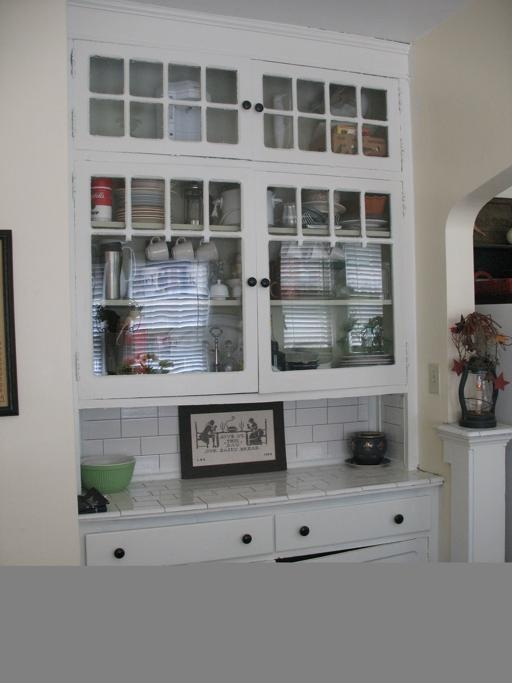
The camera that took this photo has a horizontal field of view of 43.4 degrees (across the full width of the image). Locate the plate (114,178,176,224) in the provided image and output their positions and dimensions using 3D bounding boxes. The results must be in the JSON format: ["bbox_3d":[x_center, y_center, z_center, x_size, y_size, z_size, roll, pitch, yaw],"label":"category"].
[{"bbox_3d":[-0.394,-0.466,2.162,0.173,0.174,0.026,-1,-1,-23],"label":"plate"}]

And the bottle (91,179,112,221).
[{"bbox_3d":[-0.508,-0.464,2.110,0.075,0.146,0.015,-1,-1,-38],"label":"bottle"}]

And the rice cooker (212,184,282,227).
[{"bbox_3d":[-0.038,-0.456,2.233,0.238,0.149,0.160,-1,6,-24],"label":"rice cooker"}]

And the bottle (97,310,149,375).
[{"bbox_3d":[-0.501,-0.006,2.232,0.185,0.253,0.183,0,0,0],"label":"bottle"}]

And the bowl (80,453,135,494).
[{"bbox_3d":[-0.514,0.473,2.227,0.181,0.112,0.387,-1,0,-14],"label":"bowl"}]
